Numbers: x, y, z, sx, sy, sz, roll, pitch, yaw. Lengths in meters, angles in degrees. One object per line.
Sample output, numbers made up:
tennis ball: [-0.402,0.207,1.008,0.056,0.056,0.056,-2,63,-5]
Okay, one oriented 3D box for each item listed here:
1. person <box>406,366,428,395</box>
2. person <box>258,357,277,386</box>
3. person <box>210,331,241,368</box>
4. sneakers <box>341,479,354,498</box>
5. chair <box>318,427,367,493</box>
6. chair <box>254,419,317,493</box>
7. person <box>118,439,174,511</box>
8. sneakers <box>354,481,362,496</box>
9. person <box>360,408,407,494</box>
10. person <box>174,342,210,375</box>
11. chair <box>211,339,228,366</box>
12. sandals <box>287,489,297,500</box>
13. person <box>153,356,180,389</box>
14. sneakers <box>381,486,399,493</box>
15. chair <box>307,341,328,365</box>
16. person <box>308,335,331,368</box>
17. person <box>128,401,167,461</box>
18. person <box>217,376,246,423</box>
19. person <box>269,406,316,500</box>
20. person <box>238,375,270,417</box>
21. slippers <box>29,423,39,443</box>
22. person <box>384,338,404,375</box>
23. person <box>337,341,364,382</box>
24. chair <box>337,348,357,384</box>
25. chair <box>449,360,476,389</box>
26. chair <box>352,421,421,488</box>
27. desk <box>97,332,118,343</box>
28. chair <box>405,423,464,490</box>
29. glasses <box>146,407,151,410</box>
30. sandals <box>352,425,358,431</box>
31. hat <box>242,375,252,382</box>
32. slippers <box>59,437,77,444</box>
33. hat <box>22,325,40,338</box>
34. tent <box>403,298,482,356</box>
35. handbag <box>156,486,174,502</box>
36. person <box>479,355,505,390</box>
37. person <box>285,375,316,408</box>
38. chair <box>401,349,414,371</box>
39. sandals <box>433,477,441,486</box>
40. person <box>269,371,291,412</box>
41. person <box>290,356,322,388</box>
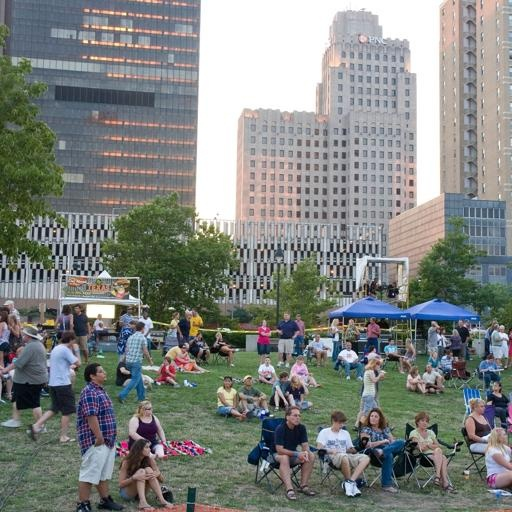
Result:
person: [5.462,4.361,35.540,0.505,0.935,0.819,-1,-2,-30]
person: [0.354,3.896,34.540,0.650,1.049,0.790,1,-8,-17]
person: [-1.006,3.548,39.604,0.910,1.881,1.192,-7,-1,32]
sneakers: [2.256,5.762,25.400,0.137,0.464,0.208,-3,-40,-24]
chair: [2.067,5.193,26.089,1.182,2.065,1.318,9,-19,-31]
chair: [0.635,5.019,25.863,1.474,2.163,1.600,4,-8,-36]
person: [-2.657,5.130,24.199,1.073,1.603,0.590,1,-4,-5]
sneakers: [2.466,5.759,25.373,0.162,0.308,0.111,0,-28,-46]
person: [3.192,4.915,26.182,0.959,2.091,1.268,-5,-9,-4]
person: [-2.169,3.631,36.366,1.201,1.455,0.679,0,4,13]
chair: [-1.400,3.772,39.504,0.508,1.084,0.683,-12,-1,32]
sandals: [0.844,5.796,24.968,0.238,0.248,0.228,0,-5,6]
person: [-2.920,3.844,33.733,0.778,1.051,0.814,3,-6,-4]
sneakers: [3.326,5.830,25.711,0.267,0.127,0.141,-5,2,24]
chair: [2.399,3.951,41.304,0.572,1.325,0.690,4,-33,-8]
person: [2.548,3.973,41.912,0.737,1.557,0.850,5,-30,-12]
person: [-2.639,4.280,25.407,0.792,1.405,1.119,0,0,-34]
person: [-0.718,4.175,30.129,0.533,1.253,1.108,2,2,-31]
person: [0.923,4.814,25.395,1.001,2.171,0.752,1,-4,1]
person: [-0.126,4.219,30.850,0.745,1.344,1.188,0,-9,-6]
slippers: [-5.703,4.598,26.577,0.191,0.506,0.164,-9,15,-31]
person: [5.569,4.187,42.175,0.783,1.728,0.902,1,-13,-12]
person: [3.459,3.873,37.920,0.756,1.593,1.229,11,-16,-24]
chair: [3.305,4.111,37.859,0.546,0.746,1.223,7,37,-7]
chair: [7.478,4.364,38.022,0.821,1.275,0.909,2,4,-16]
chair: [3.197,4.957,26.157,1.349,2.751,1.484,-4,-2,25]
desk: [-6.340,3.498,44.203,0.845,0.387,0.654,3,-5,-16]
chair: [4.533,5.324,26.553,1.449,1.957,1.455,0,-3,-21]
glasses: [-2.648,3.785,25.406,0.117,0.039,0.034,3,-5,-18]
sandals: [2.845,5.029,30.001,0.119,0.169,0.363,0,-10,-3]
hat: [-0.266,3.737,31.325,0.285,0.266,0.475,5,-19,-3]
slippers: [-4.854,4.786,26.740,0.329,0.154,0.185,-4,9,-24]
hat: [-5.810,1.959,26.603,0.336,0.141,0.301,25,-4,44]
tent: [8.461,3.366,47.829,2.937,1.270,3.106,9,-10,-37]
handbag: [-2.141,5.579,24.363,0.156,0.536,0.213,-24,-27,-12]
person: [7.867,4.054,35.151,0.554,1.479,0.781,-1,8,-8]
person: [1.196,4.112,30.791,0.726,1.012,0.824,2,2,31]
chair: [5.859,4.133,40.310,0.386,0.764,0.772,-4,-7,45]
sandals: [4.539,5.717,26.121,0.130,0.155,0.392,3,-10,-10]
person: [0.733,4.120,31.350,0.724,1.196,0.842,8,-10,-37]
person: [1.588,3.882,33.933,0.991,1.154,0.731,-1,1,34]
